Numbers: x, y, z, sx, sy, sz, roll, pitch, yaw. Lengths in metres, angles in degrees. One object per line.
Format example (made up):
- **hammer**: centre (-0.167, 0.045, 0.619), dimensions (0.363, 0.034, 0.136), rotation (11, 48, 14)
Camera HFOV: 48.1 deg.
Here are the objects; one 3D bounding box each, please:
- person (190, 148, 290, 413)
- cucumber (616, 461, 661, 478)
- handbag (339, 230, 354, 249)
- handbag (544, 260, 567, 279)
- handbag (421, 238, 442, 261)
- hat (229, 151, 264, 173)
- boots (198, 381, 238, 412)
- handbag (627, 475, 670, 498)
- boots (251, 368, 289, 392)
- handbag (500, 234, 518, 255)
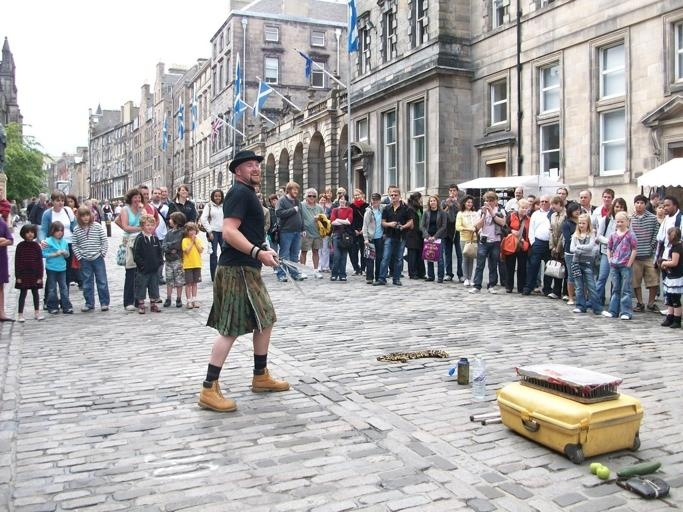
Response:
- **person**: centre (-1.032, 0.216, 8.187), dimensions (0.919, 2.692, 0.926), rotation (12, 8, 42)
- **cucumber**: centre (2.573, 1.809, 6.500), dimensions (0.473, 0.130, 0.140), rotation (-3, -8, -20)
- **handbag**: centre (0.087, -0.387, 17.259), dimensions (0.331, 0.397, 0.171), rotation (9, -19, -36)
- **handbag**: centre (4.024, 0.238, 14.342), dimensions (0.135, 0.309, 0.350), rotation (3, 2, -30)
- **handbag**: centre (2.028, -0.164, 17.160), dimensions (0.445, 0.583, 0.174), rotation (4, -13, 10)
- **hat**: centre (-1.041, -1.000, 8.054), dimensions (0.261, 0.115, 0.304), rotation (-8, -11, -20)
- **boots**: centre (-1.295, 1.448, 7.872), dimensions (0.460, 0.333, 0.202), rotation (4, 3, 2)
- **handbag**: centre (2.526, 1.908, 6.299), dimensions (0.258, 0.118, 0.260), rotation (-7, 12, -33)
- **boots**: centre (-0.797, 1.372, 8.470), dimensions (0.440, 0.262, 0.187), rotation (-2, 2, -15)
- **handbag**: centre (3.409, -0.222, 15.531), dimensions (0.288, 0.415, 0.217), rotation (19, 16, 33)
